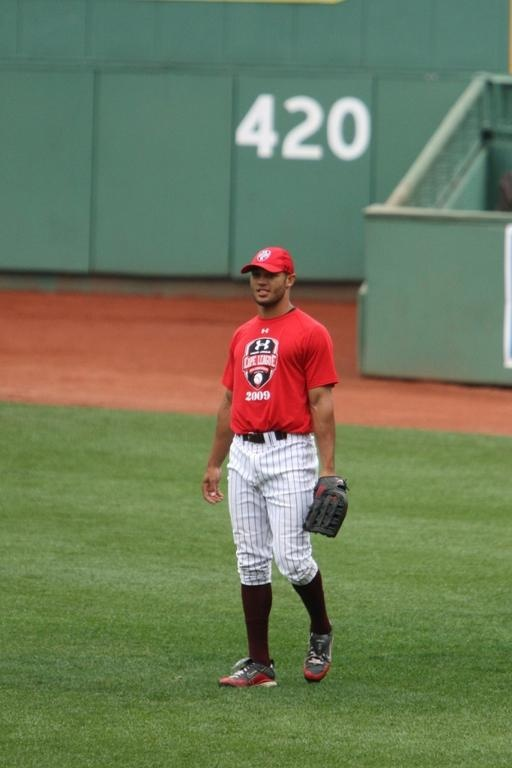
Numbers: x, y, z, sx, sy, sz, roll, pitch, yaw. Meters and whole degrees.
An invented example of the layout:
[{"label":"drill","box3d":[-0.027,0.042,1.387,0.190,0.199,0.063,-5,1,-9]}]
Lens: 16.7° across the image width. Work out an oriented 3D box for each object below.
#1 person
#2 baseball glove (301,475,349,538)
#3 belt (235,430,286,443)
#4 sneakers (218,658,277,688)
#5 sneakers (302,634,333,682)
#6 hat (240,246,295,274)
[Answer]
[{"label":"person","box3d":[0.087,0.338,7.586,0.561,1.794,0.635,-2,12,-8]},{"label":"baseball glove","box3d":[0.312,0.526,7.472,0.175,0.294,0.123,7,-36,12]},{"label":"belt","box3d":[0.053,0.233,7.482,0.165,0.065,0.031,2,13,9]},{"label":"sneakers","box3d":[-0.029,1.246,7.528,0.271,0.162,0.108,1,-7,-2]},{"label":"sneakers","box3d":[0.264,1.186,7.545,0.074,0.098,0.234,3,32,7]},{"label":"hat","box3d":[0.080,-0.522,7.579,0.122,0.106,0.171,0,-3,41]}]
